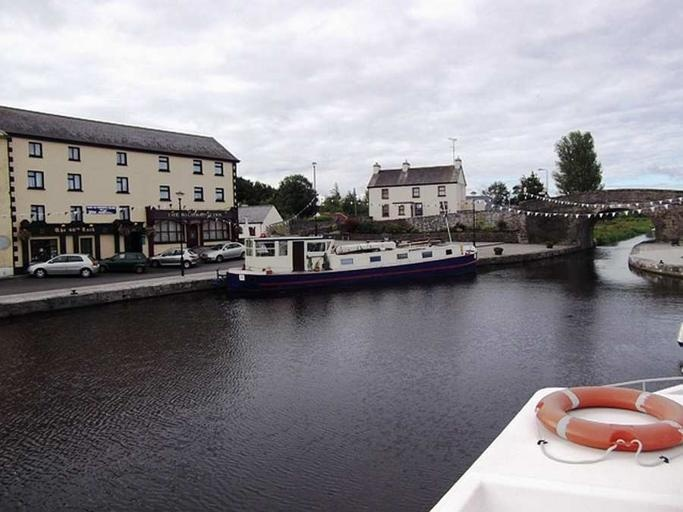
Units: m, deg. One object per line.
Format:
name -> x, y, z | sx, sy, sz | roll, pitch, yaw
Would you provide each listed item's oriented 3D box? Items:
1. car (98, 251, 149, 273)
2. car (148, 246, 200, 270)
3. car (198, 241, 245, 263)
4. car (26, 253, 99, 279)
car -> -12.824, 0.398, 32.746 | 2.258, 1.051, 1.248 | 3, 1, -6
car -> -10.545, 0.353, 34.552 | 3.053, 1.054, 1.680 | 2, 1, 9
car -> -8.060, -0.213, 37.732 | 1.433, 0.932, 2.858 | 2, 3, 40
car -> -15.160, 0.654, 30.275 | 3.204, 1.178, 1.483 | 2, 0, -7
